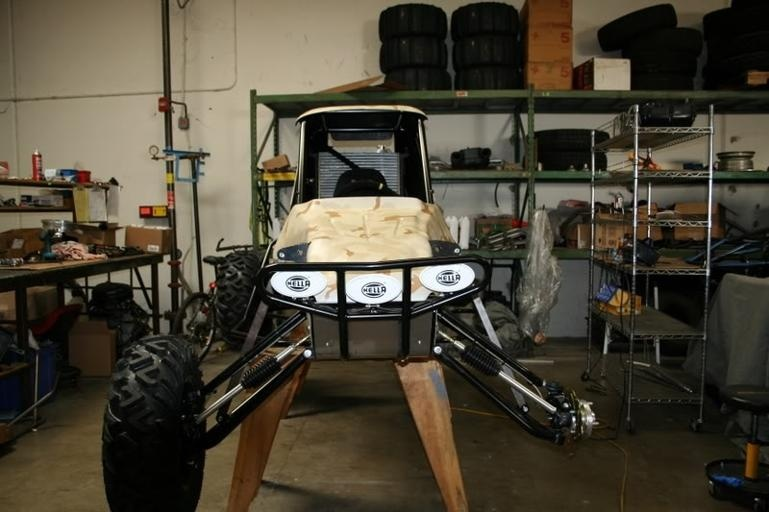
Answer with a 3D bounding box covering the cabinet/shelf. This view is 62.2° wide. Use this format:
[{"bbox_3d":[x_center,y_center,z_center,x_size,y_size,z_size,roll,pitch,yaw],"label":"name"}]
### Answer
[{"bbox_3d":[1.306,0.020,5.920,3.840,1.987,0.565,0,0,2],"label":"cabinet/shelf"}]
